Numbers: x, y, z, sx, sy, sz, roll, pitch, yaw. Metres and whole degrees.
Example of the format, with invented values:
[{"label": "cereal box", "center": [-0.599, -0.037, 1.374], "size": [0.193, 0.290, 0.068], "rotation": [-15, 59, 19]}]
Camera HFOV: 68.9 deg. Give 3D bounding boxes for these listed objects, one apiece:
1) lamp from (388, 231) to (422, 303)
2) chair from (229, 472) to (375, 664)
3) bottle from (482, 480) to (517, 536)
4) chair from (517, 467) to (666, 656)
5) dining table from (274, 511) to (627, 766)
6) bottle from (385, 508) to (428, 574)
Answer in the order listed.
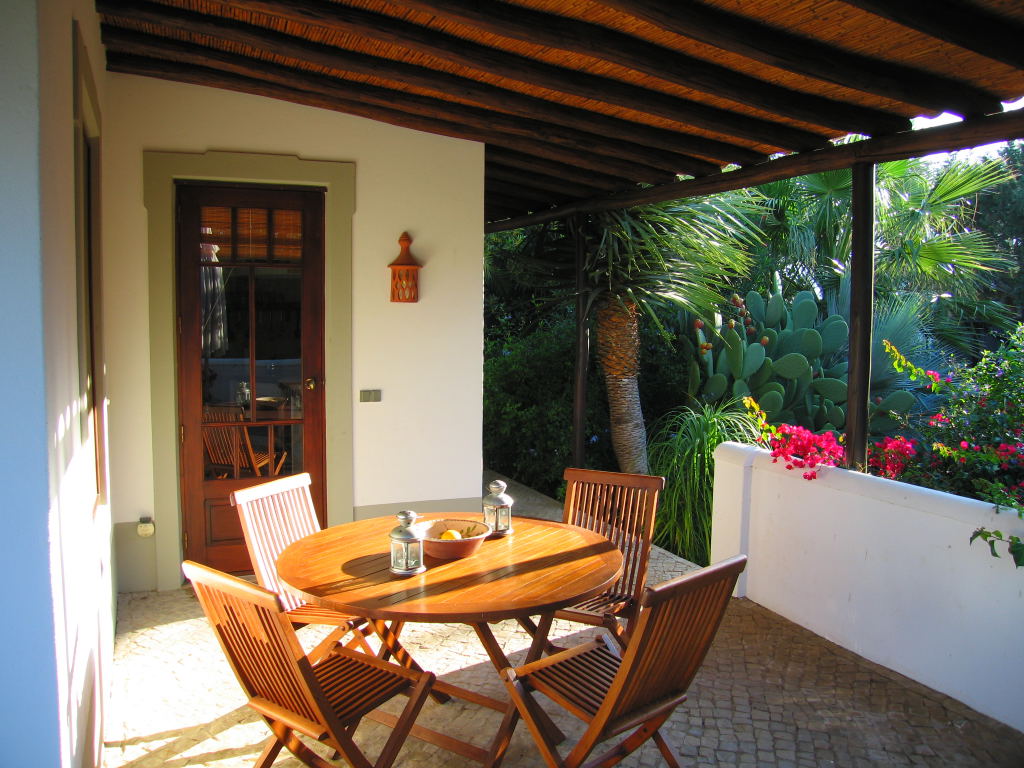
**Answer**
[{"label": "lamp", "center": [-0.821, -0.893, 5.706], "size": [0.319, 0.525, 0.302], "rotation": [13, 21, 27]}, {"label": "chair", "center": [-0.969, 0.945, 3.850], "size": [0.735, 0.849, 0.643], "rotation": [-3, 6, 11]}, {"label": "bottle", "center": [-0.059, 0.621, 3.762], "size": [0.159, 0.274, 0.152], "rotation": [-4, 3, 0]}, {"label": "chair", "center": [0.420, 0.966, 4.001], "size": [0.548, 0.621, 0.894], "rotation": [8, 23, 18]}, {"label": "dining table", "center": [-0.178, 0.987, 3.367], "size": [1.232, 0.767, 1.237], "rotation": [6, 16, 22]}, {"label": "bottle", "center": [-0.437, 0.672, 3.241], "size": [0.140, 0.215, 0.162], "rotation": [2, 11, 45]}]
